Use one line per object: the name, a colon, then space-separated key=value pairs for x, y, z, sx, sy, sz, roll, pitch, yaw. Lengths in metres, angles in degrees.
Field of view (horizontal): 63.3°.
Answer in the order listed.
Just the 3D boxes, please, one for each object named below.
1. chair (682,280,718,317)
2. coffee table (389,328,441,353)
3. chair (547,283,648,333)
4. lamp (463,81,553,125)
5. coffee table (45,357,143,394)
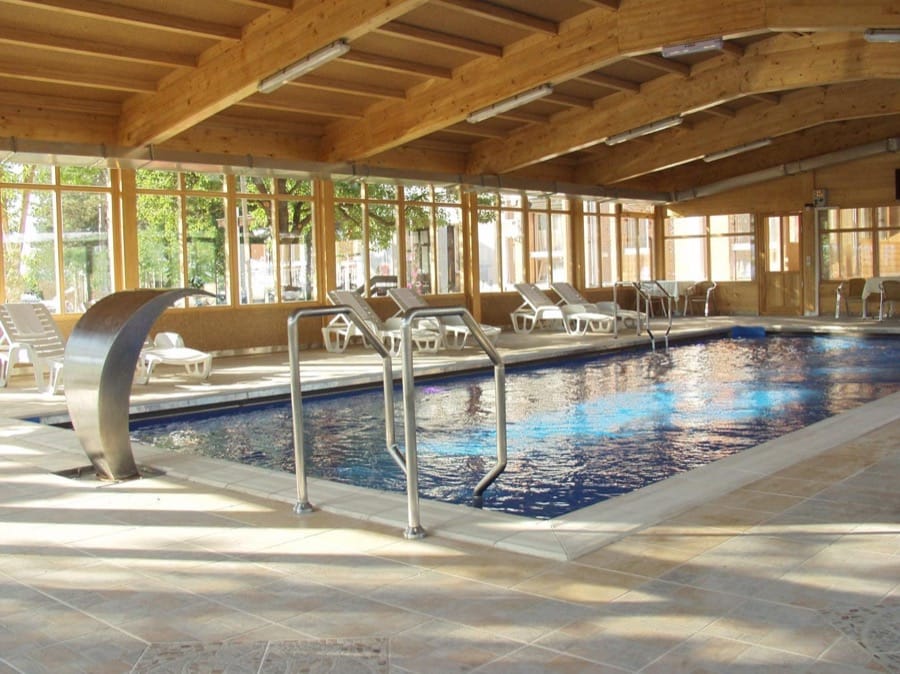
chair: x=6.930 y=-1.087 z=20.372 sx=0.916 sy=0.954 sz=0.467 roll=-2 pitch=9 yaw=14
coffee table: x=-0.464 y=0.081 z=13.040 sx=0.931 sy=0.267 sz=0.588 roll=0 pitch=0 yaw=-35
chair: x=3.198 y=-0.589 z=15.912 sx=2.146 sy=0.564 sz=1.301 roll=2 pitch=6 yaw=23
lamp: x=0.885 y=-3.644 z=11.307 sx=2.205 sy=0.261 sz=0.186 roll=-6 pitch=29 yaw=28
coffee table: x=-4.174 y=0.441 z=8.648 sx=1.097 sy=0.427 sz=0.699 roll=-4 pitch=6 yaw=-21
